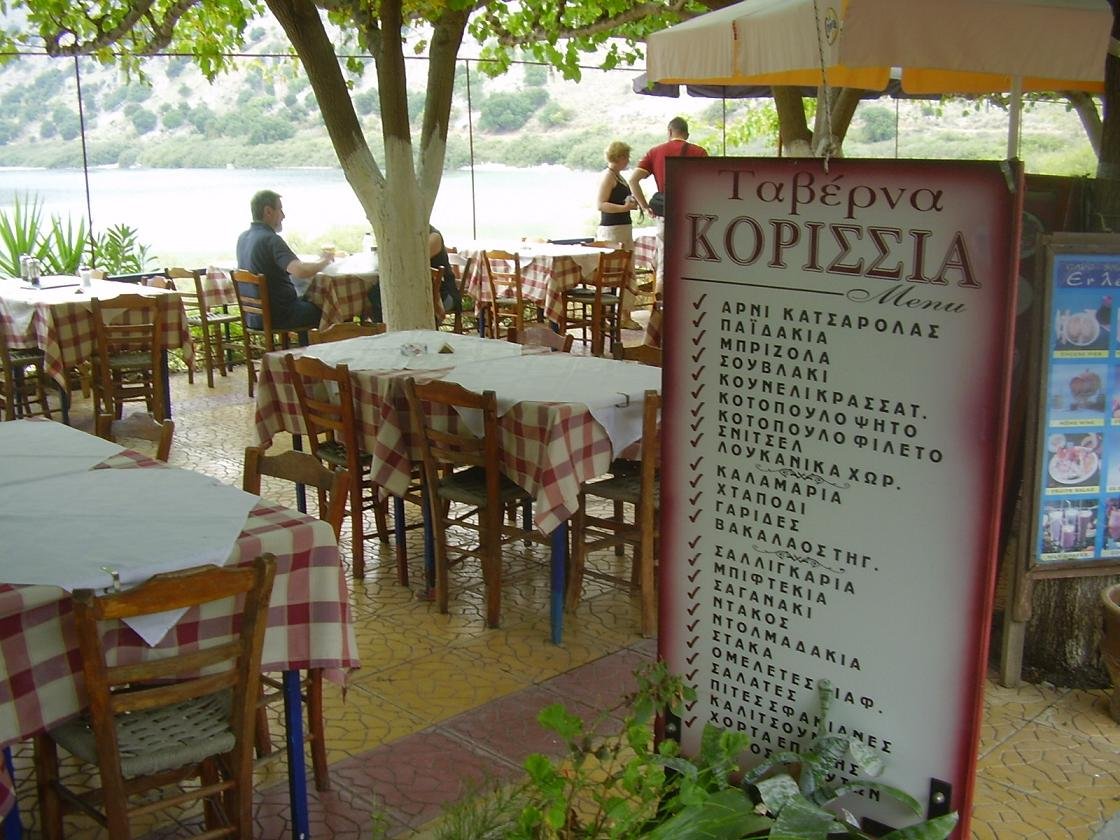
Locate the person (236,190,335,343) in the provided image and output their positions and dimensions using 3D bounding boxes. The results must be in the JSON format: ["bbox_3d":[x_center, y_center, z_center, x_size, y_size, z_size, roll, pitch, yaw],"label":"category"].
[{"bbox_3d":[-2.534,-1.221,8.434,0.905,1.657,0.808,-5,7,-44],"label":"person"}]

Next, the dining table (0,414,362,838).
[{"bbox_3d":[-1.284,0.391,2.984,1.223,0.293,1.189,-11,22,-33],"label":"dining table"}]
